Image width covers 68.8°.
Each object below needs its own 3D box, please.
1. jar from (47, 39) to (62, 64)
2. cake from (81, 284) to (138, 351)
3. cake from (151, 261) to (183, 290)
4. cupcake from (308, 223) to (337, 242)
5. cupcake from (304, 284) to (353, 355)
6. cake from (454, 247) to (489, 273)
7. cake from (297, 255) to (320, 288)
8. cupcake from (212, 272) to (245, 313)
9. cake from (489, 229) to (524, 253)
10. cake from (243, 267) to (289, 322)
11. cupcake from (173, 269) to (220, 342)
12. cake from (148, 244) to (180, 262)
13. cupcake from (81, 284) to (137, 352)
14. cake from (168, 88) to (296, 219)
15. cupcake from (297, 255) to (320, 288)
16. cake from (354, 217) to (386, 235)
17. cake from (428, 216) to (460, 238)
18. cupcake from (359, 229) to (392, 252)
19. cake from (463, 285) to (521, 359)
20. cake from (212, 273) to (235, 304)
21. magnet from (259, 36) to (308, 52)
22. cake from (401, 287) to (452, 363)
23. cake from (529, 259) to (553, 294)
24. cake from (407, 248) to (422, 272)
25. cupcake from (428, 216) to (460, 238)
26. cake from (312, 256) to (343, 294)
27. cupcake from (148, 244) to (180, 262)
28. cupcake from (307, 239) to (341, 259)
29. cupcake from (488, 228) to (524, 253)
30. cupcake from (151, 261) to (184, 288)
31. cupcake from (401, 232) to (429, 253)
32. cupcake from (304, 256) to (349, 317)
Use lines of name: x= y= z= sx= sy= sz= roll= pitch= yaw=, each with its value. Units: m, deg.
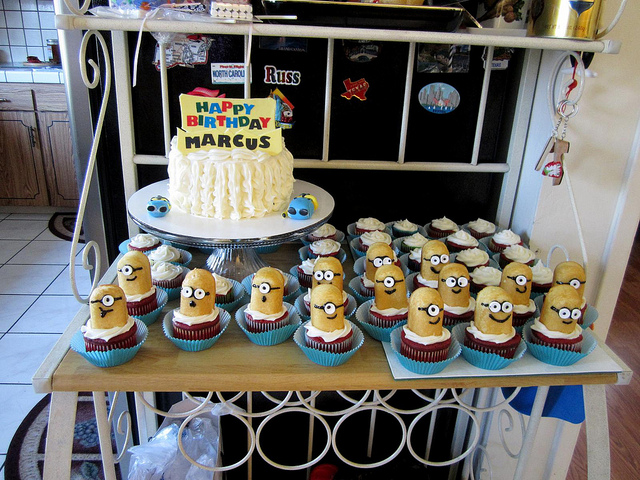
jar: x=-2.182 y=-1.553 z=3.820 sx=0.089 sy=0.184 sz=0.250 roll=-11 pitch=27 yaw=-26
cake: x=-0.475 y=0.182 z=1.054 sx=0.121 sy=0.157 sz=0.123 roll=0 pitch=5 yaw=42
cake: x=-0.407 y=0.092 z=1.243 sx=0.067 sy=0.056 sz=0.079 roll=0 pitch=10 yaw=-3
cupcake: x=0.009 y=-0.023 z=1.465 sx=0.067 sy=0.039 sz=0.065 roll=-1 pitch=23 yaw=-5
cupcake: x=0.019 y=0.194 z=1.085 sx=0.135 sy=0.174 sz=0.131 roll=2 pitch=11 yaw=11
cake: x=0.437 y=0.048 z=1.334 sx=0.081 sy=0.059 sz=0.082 roll=0 pitch=19 yaw=3
cake: x=-0.038 y=0.089 z=1.274 sx=0.061 sy=0.073 sz=0.074 roll=2 pitch=8 yaw=1
cupcake: x=-0.237 y=0.137 z=1.207 sx=0.099 sy=0.083 sz=0.098 roll=2 pitch=9 yaw=-7
cake: x=0.572 y=0.002 z=1.455 sx=0.078 sy=0.067 sz=0.076 roll=-5 pitch=18 yaw=-31
cake: x=-0.124 y=0.126 z=1.123 sx=0.111 sy=0.121 sz=0.113 roll=7 pitch=8 yaw=33
cupcake: x=-0.287 y=0.147 z=1.071 sx=0.105 sy=0.140 sz=0.098 roll=-5 pitch=25 yaw=-15
cake: x=-0.442 y=0.025 z=1.317 sx=0.056 sy=0.022 sz=0.055 roll=14 pitch=24 yaw=27
cupcake: x=-0.471 y=0.182 z=1.057 sx=0.126 sy=0.157 sz=0.119 roll=-6 pitch=3 yaw=-22
cake: x=-0.213 y=-0.239 z=1.324 sx=0.342 sy=0.288 sz=0.331 roll=3 pitch=24 yaw=1
cupcake: x=-0.027 y=0.095 z=1.294 sx=0.071 sy=0.068 sz=0.057 roll=-15 pitch=-9 yaw=38
cake: x=0.154 y=-0.049 z=1.500 sx=0.064 sy=0.055 sz=0.064 roll=5 pitch=9 yaw=10
cake: x=0.399 y=-0.043 z=1.523 sx=0.071 sy=0.062 sz=0.071 roll=6 pitch=14 yaw=10
cupcake: x=0.168 y=-0.005 z=1.416 sx=0.073 sy=0.067 sz=0.074 roll=7 pitch=4 yaw=13
cake: x=0.403 y=0.198 z=1.088 sx=0.131 sy=0.175 sz=0.141 roll=1 pitch=8 yaw=-9
cake: x=-0.243 y=0.125 z=1.195 sx=0.060 sy=0.069 sz=0.069 roll=-1 pitch=8 yaw=-5
magnet: x=-0.112 y=-0.605 z=1.433 sx=0.147 sy=0.041 sz=0.021 roll=-3 pitch=25 yaw=-12
cake: x=0.244 y=0.198 z=1.073 sx=0.124 sy=0.175 sz=0.130 roll=6 pitch=8 yaw=26
cake: x=0.605 y=0.104 z=1.326 sx=0.071 sy=0.083 sz=0.076 roll=0 pitch=5 yaw=2
cake: x=0.280 y=0.057 z=1.381 sx=0.060 sy=0.060 sz=0.059 roll=3 pitch=1 yaw=8
cupcake: x=0.395 y=-0.051 z=1.523 sx=0.070 sy=0.061 sz=0.071 roll=8 pitch=15 yaw=17
cake: x=0.016 y=0.087 z=1.176 sx=0.088 sy=0.094 sz=0.092 roll=-2 pitch=5 yaw=-15
cupcake: x=-0.449 y=0.030 z=1.319 sx=0.056 sy=0.020 sz=0.055 roll=6 pitch=23 yaw=10
cupcake: x=0.013 y=0.024 z=1.364 sx=0.064 sy=0.038 sz=0.063 roll=-4 pitch=13 yaw=-24
cupcake: x=0.579 y=-0.003 z=1.463 sx=0.078 sy=0.067 sz=0.076 roll=-8 pitch=17 yaw=-36
cupcake: x=-0.404 y=0.091 z=1.247 sx=0.064 sy=0.057 sz=0.079 roll=1 pitch=8 yaw=6
cupcake: x=0.287 y=0.005 z=1.445 sx=0.054 sy=0.051 sz=0.070 roll=2 pitch=11 yaw=6
cupcake: x=0.014 y=0.115 z=1.219 sx=0.135 sy=0.176 sz=0.137 roll=1 pitch=11 yaw=0
